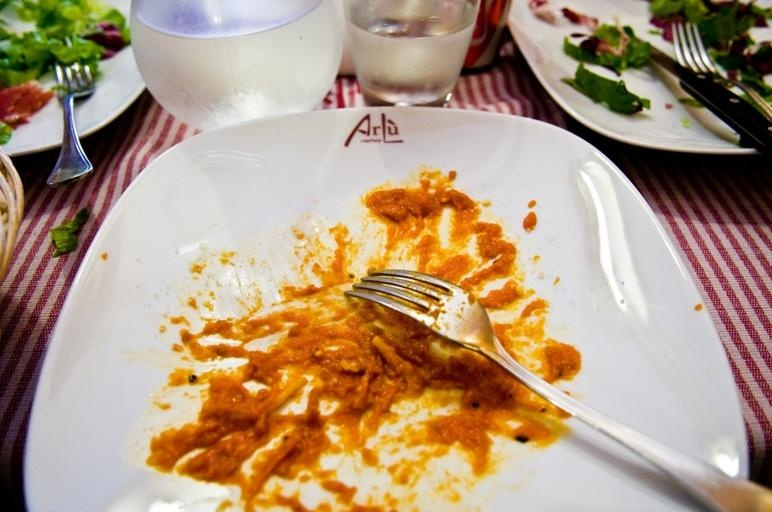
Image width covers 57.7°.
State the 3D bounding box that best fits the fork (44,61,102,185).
[{"bbox_3d":[-0.670,-0.274,1.499,0.078,0.072,0.578,-8,42,-15],"label":"fork"}]
